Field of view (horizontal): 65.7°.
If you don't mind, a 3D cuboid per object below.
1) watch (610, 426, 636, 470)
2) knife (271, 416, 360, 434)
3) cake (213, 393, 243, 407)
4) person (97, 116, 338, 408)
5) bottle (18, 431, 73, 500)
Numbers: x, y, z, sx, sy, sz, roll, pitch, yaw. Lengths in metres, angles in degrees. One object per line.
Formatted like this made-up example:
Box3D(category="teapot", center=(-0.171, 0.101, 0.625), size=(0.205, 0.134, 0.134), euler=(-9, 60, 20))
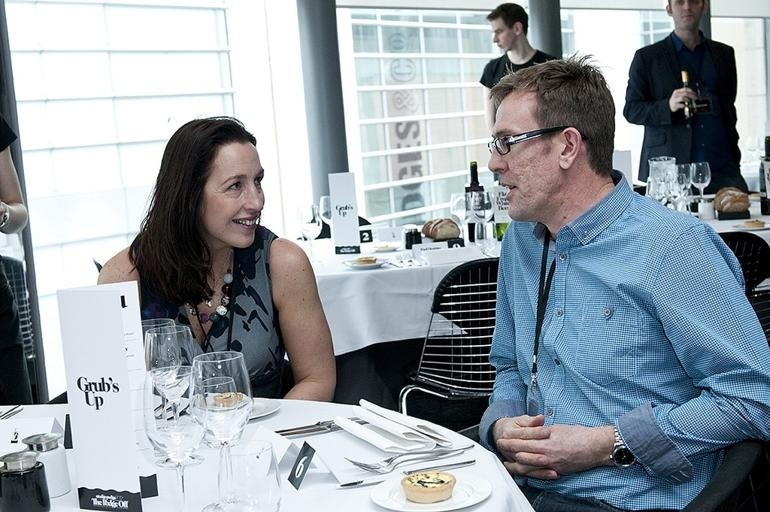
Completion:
Box3D(category="watch", center=(0.695, 0.562, 1.754), size=(0.058, 0.099, 0.096), euler=(-12, 3, 16))
Box3D(category="knife", center=(-0.190, 0.466, 1.662), size=(0.149, 0.018, 0.039), euler=(-2, 15, -21))
Box3D(category="cake", center=(-0.363, 0.328, 1.377), size=(0.041, 0.016, 0.033), euler=(-1, 0, 4))
Box3D(category="person", center=(-0.680, 0.069, 2.372), size=(0.919, 1.108, 0.730), euler=(1, 11, -20))
Box3D(category="bottle", center=(-0.825, 0.507, 1.451), size=(0.087, 0.144, 0.094), euler=(-10, 1, 0))
